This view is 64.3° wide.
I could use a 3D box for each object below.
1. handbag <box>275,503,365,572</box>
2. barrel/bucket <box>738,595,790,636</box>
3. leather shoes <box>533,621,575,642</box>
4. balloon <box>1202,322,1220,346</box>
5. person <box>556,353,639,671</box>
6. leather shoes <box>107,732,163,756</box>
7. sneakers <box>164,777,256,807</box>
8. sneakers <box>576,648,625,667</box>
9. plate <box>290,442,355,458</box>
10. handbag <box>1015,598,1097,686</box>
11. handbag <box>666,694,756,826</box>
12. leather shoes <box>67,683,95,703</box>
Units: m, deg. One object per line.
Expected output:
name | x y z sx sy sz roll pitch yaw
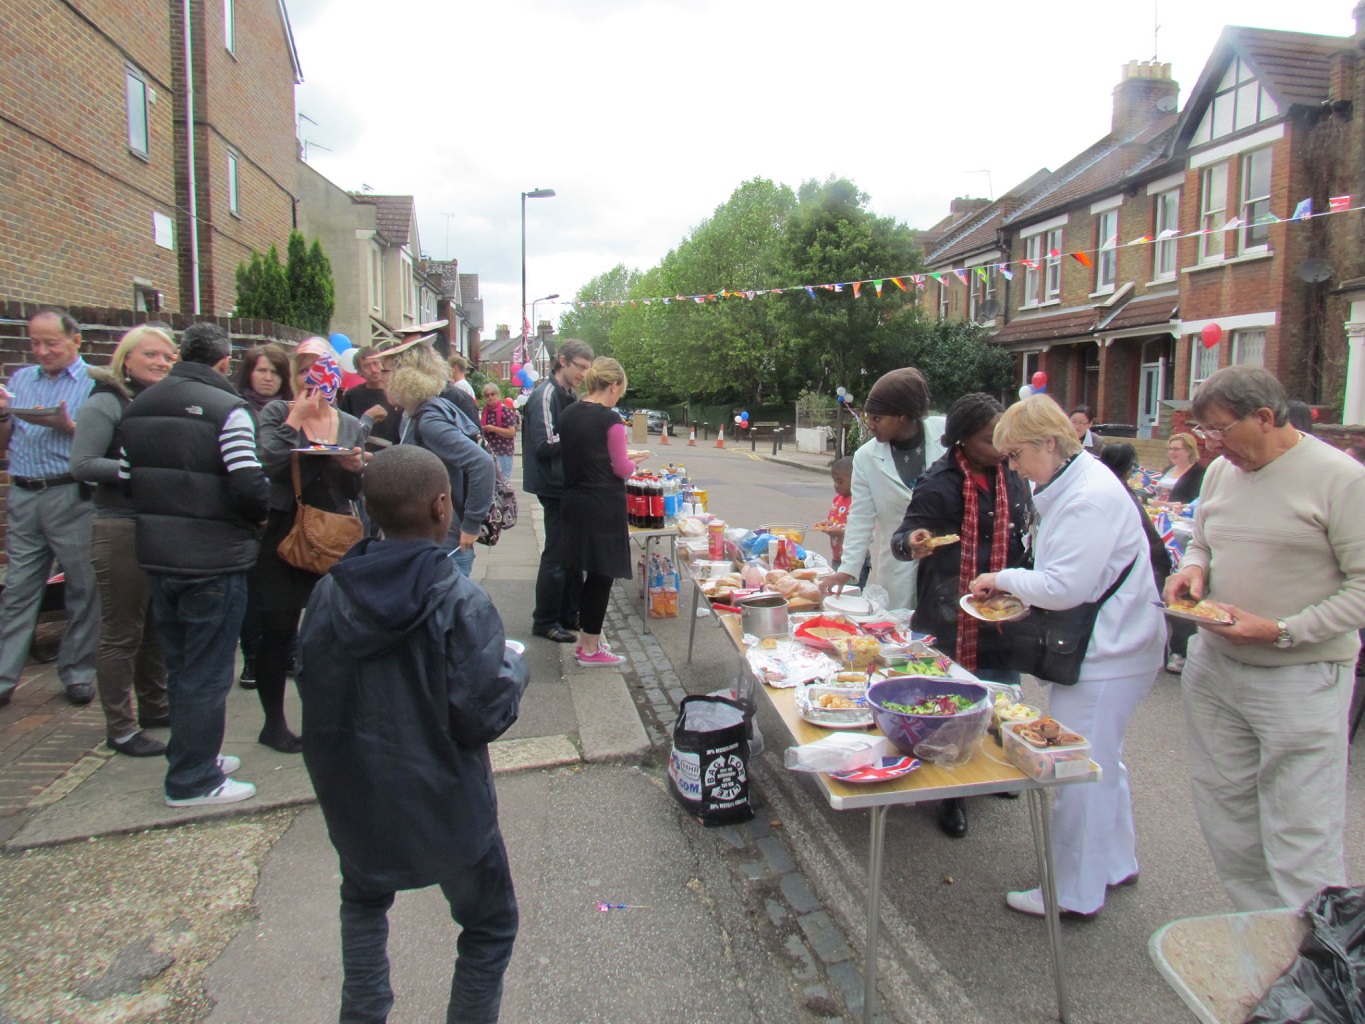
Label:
handbag | -1.906 0.147 5.636 0.291 0.290 0.145 10 12 -28
barrel/bucket | 0.428 0.564 5.811 0.224 0.149 0.175 -1 4 5
leather shoes | -0.960 0.913 8.269 0.346 0.142 0.119 2 8 28
balloon | 9.729 -3.253 20.042 0.380 0.402 0.988 3 8 26
person | -0.581 0.049 7.396 0.495 2.145 0.440 -1 8 -4
leather shoes | -3.028 1.306 6.051 0.266 0.103 0.134 1 19 -5
sneakers | -2.410 1.455 5.582 0.427 0.191 0.159 -2 8 -23
sneakers | -0.584 1.044 7.630 0.336 0.142 0.126 0 12 -7
plate | -1.950 -0.328 5.902 0.489 0.052 0.378 0 0 -1
handbag | 1.700 0.586 4.953 0.228 0.430 0.313 15 3 -26
handbag | 0.138 1.234 6.056 0.484 0.738 0.744 -3 5 -17
leather shoes | -3.627 1.112 6.558 0.072 0.095 0.198 6 -17 -36
